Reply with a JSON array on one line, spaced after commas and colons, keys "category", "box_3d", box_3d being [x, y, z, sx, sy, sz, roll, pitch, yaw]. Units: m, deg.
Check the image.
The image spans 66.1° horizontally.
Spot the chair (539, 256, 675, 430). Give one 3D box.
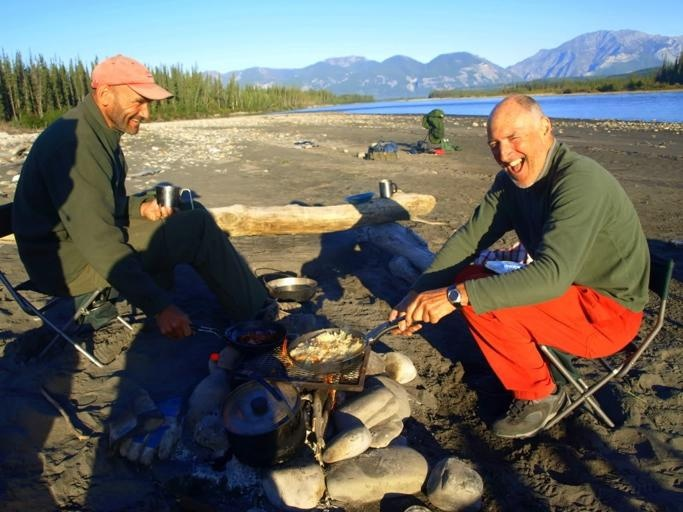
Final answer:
[{"category": "chair", "box_3d": [1.942, 0.747, 4.029, 0.674, 0.912, 0.567, -34, 18, 11]}]

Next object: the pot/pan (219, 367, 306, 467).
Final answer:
[{"category": "pot/pan", "box_3d": [-0.532, 1.120, 3.581, 0.534, 0.498, 0.410, -2, 23, -4]}]

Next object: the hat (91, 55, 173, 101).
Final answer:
[{"category": "hat", "box_3d": [-1.738, -1.366, 4.199, 0.585, 0.188, 0.321, 3, -13, -24]}]

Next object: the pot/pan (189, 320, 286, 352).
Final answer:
[{"category": "pot/pan", "box_3d": [-0.797, 0.645, 4.235, 0.595, 0.066, 0.315, 1, 10, -15]}]

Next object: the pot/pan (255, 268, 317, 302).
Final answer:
[{"category": "pot/pan", "box_3d": [-0.542, 0.324, 5.640, 0.571, 0.176, 0.542, -18, 27, -40]}]
